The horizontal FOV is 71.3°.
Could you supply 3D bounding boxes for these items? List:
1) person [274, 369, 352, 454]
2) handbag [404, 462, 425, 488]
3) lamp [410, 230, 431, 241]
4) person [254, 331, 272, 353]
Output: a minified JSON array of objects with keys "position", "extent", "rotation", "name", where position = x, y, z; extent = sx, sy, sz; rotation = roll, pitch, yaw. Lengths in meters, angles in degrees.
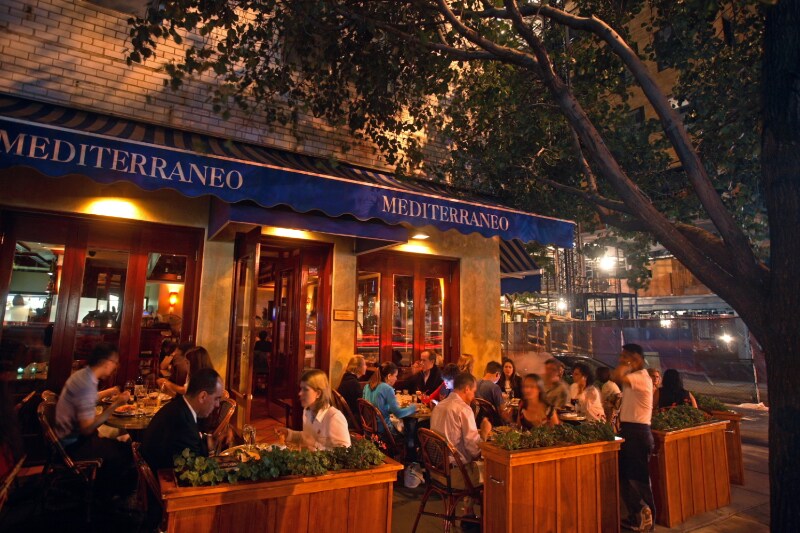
[{"position":[-1.103,2.032,7.529],"extent":[1.160,1.227,0.691],"rotation":[-1,-4,43],"name":"person"},{"position":[0.162,3.574,9.462],"extent":[0.312,0.389,0.372],"rotation":[-12,-21,32],"name":"handbag"},{"position":[0.436,-0.643,12.385],"extent":[0.397,0.128,0.480],"rotation":[-1,-9,3],"name":"lamp"},{"position":[-3.563,1.934,14.469],"extent":[0.362,0.561,0.804],"rotation":[2,-9,-16],"name":"person"}]
